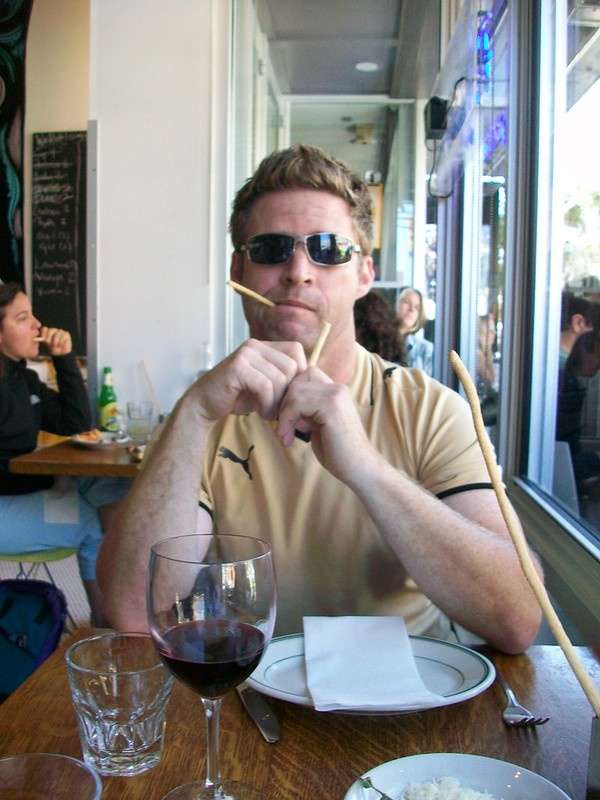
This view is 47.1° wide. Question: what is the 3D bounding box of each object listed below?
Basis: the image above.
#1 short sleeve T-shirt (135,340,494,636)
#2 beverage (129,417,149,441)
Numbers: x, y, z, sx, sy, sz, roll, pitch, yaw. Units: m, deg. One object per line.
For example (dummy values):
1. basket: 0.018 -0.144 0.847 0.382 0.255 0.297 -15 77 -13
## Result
1. short sleeve T-shirt: -0.022 0.154 1.461 0.673 0.735 0.410 -3 -26 9
2. beverage: -0.698 0.134 2.991 0.093 0.103 0.092 3 11 2
